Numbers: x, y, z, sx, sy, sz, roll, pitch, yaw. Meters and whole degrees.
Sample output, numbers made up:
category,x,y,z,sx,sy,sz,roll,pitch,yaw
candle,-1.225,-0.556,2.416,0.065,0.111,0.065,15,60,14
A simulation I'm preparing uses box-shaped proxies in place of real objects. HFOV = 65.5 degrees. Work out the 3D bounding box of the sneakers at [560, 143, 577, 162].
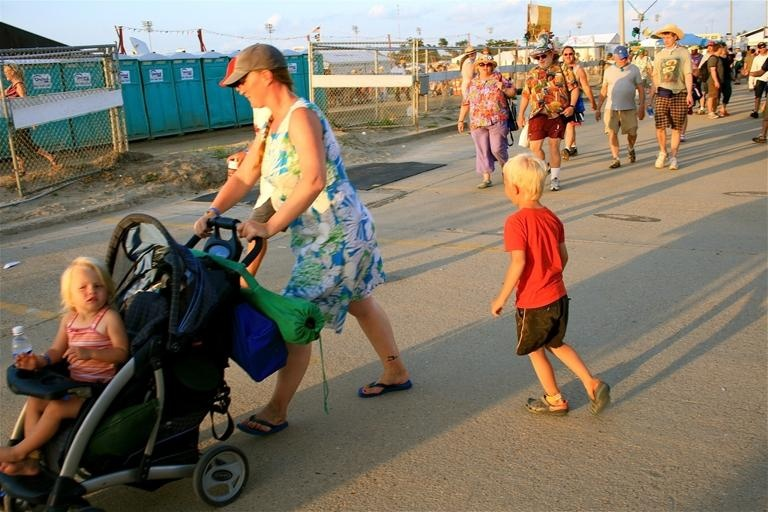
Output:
category,x,y,z,sx,sy,sz,roll,pitch,yaw
sneakers,3.704,-2.075,12.131,0.227,0.194,0.595,0,0,38

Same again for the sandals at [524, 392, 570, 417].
category,x,y,z,sx,sy,sz,roll,pitch,yaw
sandals,1.120,1.019,4.105,0.315,0.100,0.132,3,14,18

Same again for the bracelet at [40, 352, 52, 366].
category,x,y,z,sx,sy,sz,roll,pitch,yaw
bracelet,-1.876,0.581,3.345,0.028,0.053,0.047,-12,3,-7

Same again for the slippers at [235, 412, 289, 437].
category,x,y,z,sx,sy,sz,roll,pitch,yaw
slippers,-0.825,1.147,4.009,0.292,0.055,0.143,5,5,-24

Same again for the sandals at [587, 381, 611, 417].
category,x,y,z,sx,sy,sz,roll,pitch,yaw
sandals,1.427,0.957,4.022,0.132,0.231,0.125,-10,33,-36

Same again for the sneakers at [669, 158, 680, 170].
category,x,y,z,sx,sy,sz,roll,pitch,yaw
sneakers,5.016,-1.592,10.359,0.173,0.132,0.425,1,8,28

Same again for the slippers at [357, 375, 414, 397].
category,x,y,z,sx,sy,sz,roll,pitch,yaw
slippers,0.008,0.962,4.396,0.402,0.066,0.130,-2,11,-10

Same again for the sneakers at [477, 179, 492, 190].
category,x,y,z,sx,sy,sz,roll,pitch,yaw
sneakers,1.687,-1.190,9.924,0.326,0.097,0.117,-11,11,-38

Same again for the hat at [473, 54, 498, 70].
category,x,y,z,sx,sy,sz,roll,pitch,yaw
hat,1.633,-3.027,9.503,0.398,0.343,0.154,8,52,17

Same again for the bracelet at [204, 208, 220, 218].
category,x,y,z,sx,sy,sz,roll,pitch,yaw
bracelet,-1.100,-0.279,3.852,0.092,0.043,0.076,8,8,-8

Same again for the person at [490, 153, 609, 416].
category,x,y,z,sx,sy,sz,roll,pitch,yaw
person,1.101,0.201,4.020,0.710,1.742,0.636,-3,23,13

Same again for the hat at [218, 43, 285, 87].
category,x,y,z,sx,sy,sz,roll,pitch,yaw
hat,-0.827,-1.174,3.674,0.436,0.237,0.392,-6,18,-2
